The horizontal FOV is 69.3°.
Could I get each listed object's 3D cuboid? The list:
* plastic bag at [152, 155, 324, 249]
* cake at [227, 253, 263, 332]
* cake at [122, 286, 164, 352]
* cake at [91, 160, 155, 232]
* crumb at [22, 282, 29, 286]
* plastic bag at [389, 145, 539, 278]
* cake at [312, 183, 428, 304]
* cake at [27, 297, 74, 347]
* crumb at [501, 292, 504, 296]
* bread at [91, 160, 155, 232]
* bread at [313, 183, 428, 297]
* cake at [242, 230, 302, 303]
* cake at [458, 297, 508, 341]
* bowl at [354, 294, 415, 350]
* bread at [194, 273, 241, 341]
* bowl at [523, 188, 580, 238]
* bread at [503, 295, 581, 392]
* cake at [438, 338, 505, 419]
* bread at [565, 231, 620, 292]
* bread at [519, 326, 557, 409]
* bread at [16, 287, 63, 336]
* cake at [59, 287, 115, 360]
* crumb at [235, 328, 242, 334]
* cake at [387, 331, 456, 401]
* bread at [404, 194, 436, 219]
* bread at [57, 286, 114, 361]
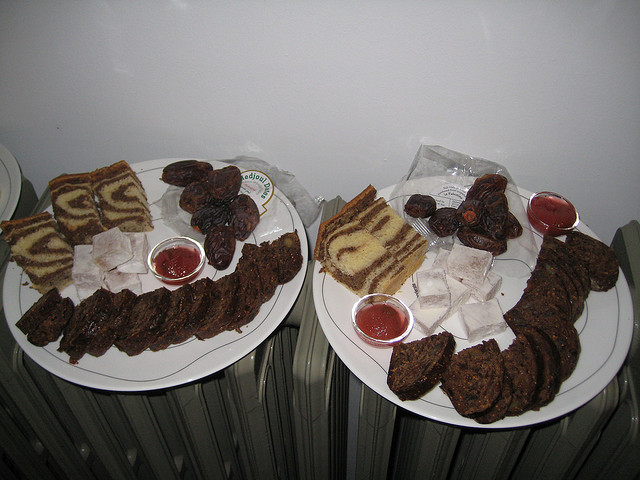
[{"bbox_3d":[-0.366,-0.295,2.872,0.704,0.714,0.167,11,-34,2],"label":"plastic bag"},{"bbox_3d":[-0.420,0.293,2.648,0.196,0.369,0.306,-3,8,-3],"label":"cake"},{"bbox_3d":[-0.962,0.418,2.606,0.214,0.302,0.350,-4,8,-6],"label":"cake"},{"bbox_3d":[-1.263,-0.269,3.003,0.341,0.465,0.136,-14,-2,5],"label":"cake"},{"bbox_3d":[-1.709,0.254,2.702,0.026,0.016,0.011,-7,9,-26],"label":"crumb"},{"bbox_3d":[0.999,-0.130,3.251,0.847,0.193,0.996,25,-5,25],"label":"plastic bag"},{"bbox_3d":[0.309,0.046,2.827,0.656,0.683,0.344,-21,-31,1],"label":"cake"},{"bbox_3d":[-1.512,0.451,2.591,0.257,0.117,0.490,6,25,-31],"label":"cake"},{"bbox_3d":[1.070,0.315,2.717,0.017,0.015,0.012,5,11,44],"label":"crumb"},{"bbox_3d":[-1.282,-0.296,3.064,0.406,0.130,0.502,-29,-29,4],"label":"bread"},{"bbox_3d":[0.312,0.033,2.842,0.673,0.761,0.232,-15,-32,-3],"label":"bread"},{"bbox_3d":[-0.269,0.121,2.694,0.296,0.422,0.061,-9,-36,-4],"label":"cake"},{"bbox_3d":[0.889,0.418,2.548,0.233,0.170,0.111,-14,-40,-8],"label":"cake"},{"bbox_3d":[0.359,0.445,2.559,0.361,0.260,0.225,-7,9,-28],"label":"bowl"},{"bbox_3d":[-0.525,0.355,2.549,0.077,0.320,0.306,30,24,-29],"label":"bread"},{"bbox_3d":[1.486,-0.196,2.955,0.348,0.156,0.359,18,-4,1],"label":"bowl"},{"bbox_3d":[1.251,0.520,2.497,0.333,0.464,0.112,-26,-36,14],"label":"bread"},{"bbox_3d":[0.803,0.724,2.467,0.382,0.093,0.512,-3,37,38],"label":"cake"},{"bbox_3d":[1.597,0.110,2.719,0.250,0.330,0.078,-29,-39,2],"label":"bread"},{"bbox_3d":[1.136,0.659,2.413,0.172,0.328,0.294,1,9,23],"label":"bread"},{"bbox_3d":[-1.522,0.379,2.637,0.256,0.057,0.265,-20,13,-6],"label":"bread"},{"bbox_3d":[-1.225,0.476,2.557,0.100,0.337,0.297,28,-12,-39],"label":"cake"},{"bbox_3d":[-0.442,0.491,2.525,0.025,0.025,0.008,5,-31,-2],"label":"crumb"},{"bbox_3d":[0.529,0.635,2.423,0.261,0.097,0.370,27,47,30],"label":"cake"},{"bbox_3d":[0.626,-0.217,2.887,0.147,0.153,0.103,19,-32,10],"label":"bread"},{"bbox_3d":[-1.230,0.470,2.549,0.092,0.331,0.316,32,-24,-34],"label":"bread"}]
